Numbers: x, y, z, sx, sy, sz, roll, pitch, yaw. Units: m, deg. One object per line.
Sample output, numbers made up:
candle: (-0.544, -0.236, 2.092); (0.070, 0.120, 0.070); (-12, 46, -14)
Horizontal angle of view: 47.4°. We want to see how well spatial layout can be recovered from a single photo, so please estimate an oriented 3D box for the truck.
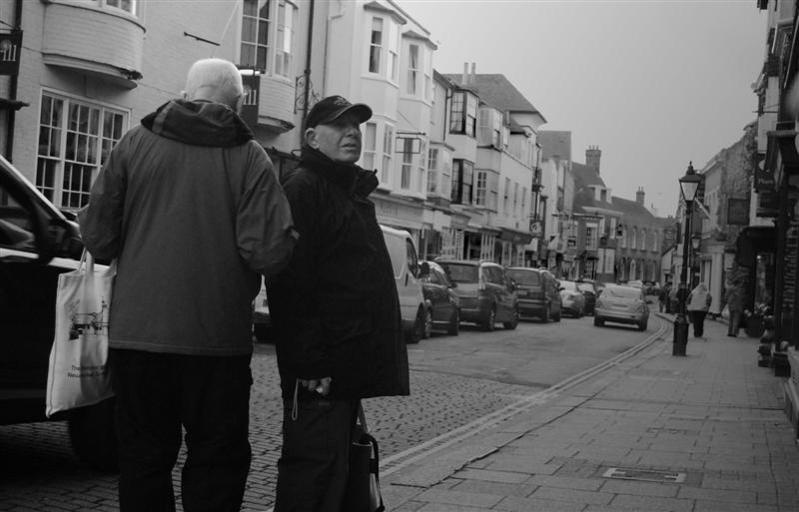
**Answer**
truck: (-1.034, 0.627, 19.788); (2.561, 2.625, 5.080); (2, 2, 16)
